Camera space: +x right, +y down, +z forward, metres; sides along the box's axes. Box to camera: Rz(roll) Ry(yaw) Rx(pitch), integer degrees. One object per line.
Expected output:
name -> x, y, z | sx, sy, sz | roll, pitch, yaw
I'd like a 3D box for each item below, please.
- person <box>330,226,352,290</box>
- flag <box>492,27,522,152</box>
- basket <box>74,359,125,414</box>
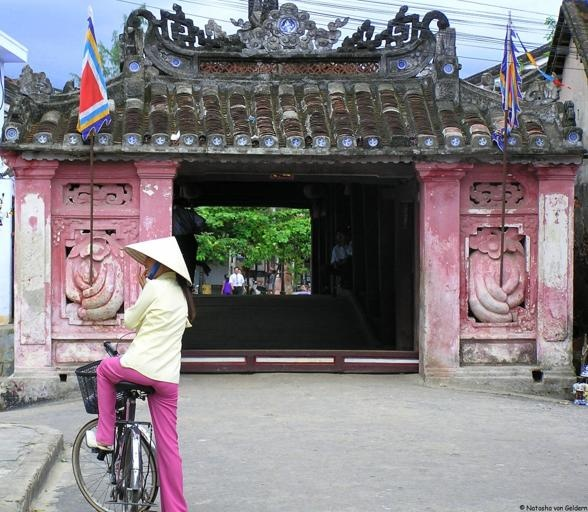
person -> 1.043, 0.127, 20.159 | 0.445, 1.297, 1.281 | 0, 6, 2
flag -> 2.813, -2.232, 12.113 | 0.351, 1.650, 1.167 | 1, 6, 14
basket -> -1.669, 1.120, 7.918 | 0.391, 0.426, 0.380 | -1, 1, -24
